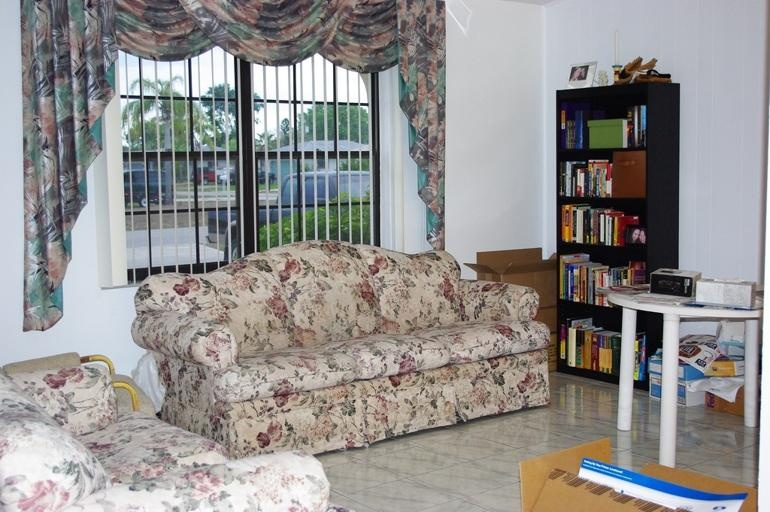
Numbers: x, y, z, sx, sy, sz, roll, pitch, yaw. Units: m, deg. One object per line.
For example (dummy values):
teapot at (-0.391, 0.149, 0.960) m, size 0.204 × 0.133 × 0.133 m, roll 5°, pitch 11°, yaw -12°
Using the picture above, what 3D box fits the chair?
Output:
chair at (-1.735, 0.717, 3.745) m, size 0.679 × 0.454 × 0.526 m, roll -3°, pitch 11°, yaw -27°

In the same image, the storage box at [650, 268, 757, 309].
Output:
storage box at (1.844, 0.187, 3.816) m, size 0.300 × 0.147 × 0.590 m, roll -7°, pitch 10°, yaw -33°

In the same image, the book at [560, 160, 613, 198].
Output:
book at (1.717, -0.665, 5.557) m, size 0.360 × 0.305 × 0.532 m, roll -3°, pitch 10°, yaw -18°

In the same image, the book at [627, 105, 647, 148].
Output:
book at (2.010, -1.030, 5.191) m, size 0.042 × 0.326 × 0.199 m, roll -5°, pitch 9°, yaw -26°

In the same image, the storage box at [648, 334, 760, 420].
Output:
storage box at (2.396, 0.741, 4.723) m, size 0.490 × 0.394 × 0.710 m, roll 1°, pitch -1°, yaw -29°

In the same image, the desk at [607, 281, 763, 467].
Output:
desk at (1.969, 0.625, 4.064) m, size 1.002 × 0.801 × 0.969 m, roll -4°, pitch 8°, yaw -30°
